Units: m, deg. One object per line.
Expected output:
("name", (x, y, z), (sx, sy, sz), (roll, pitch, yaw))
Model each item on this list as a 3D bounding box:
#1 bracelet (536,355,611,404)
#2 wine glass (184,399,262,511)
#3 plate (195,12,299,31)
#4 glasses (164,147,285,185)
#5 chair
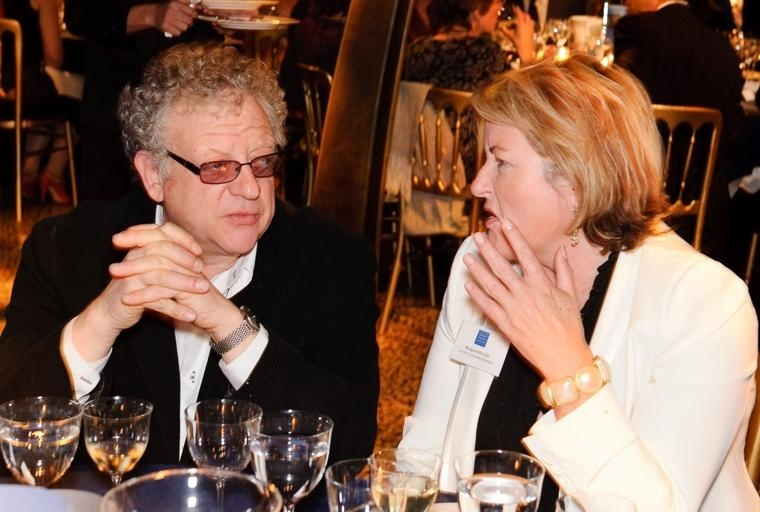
("bracelet", (0.448, 0.301, 1.541), (0.121, 0.052, 0.125), (-34, -4, 17))
("wine glass", (-0.330, 0.404, 1.448), (0.156, 0.267, 0.151), (2, 15, -12))
("plate", (-0.609, -1.095, 3.134), (0.324, 0.045, 0.231), (-5, 17, -26))
("glasses", (-0.446, -0.259, 1.916), (0.329, 0.104, 0.101), (4, 12, -10))
("chair", (-0.026, -0.339, 2.560), (1.746, 0.843, 1.284), (7, 15, 16))
